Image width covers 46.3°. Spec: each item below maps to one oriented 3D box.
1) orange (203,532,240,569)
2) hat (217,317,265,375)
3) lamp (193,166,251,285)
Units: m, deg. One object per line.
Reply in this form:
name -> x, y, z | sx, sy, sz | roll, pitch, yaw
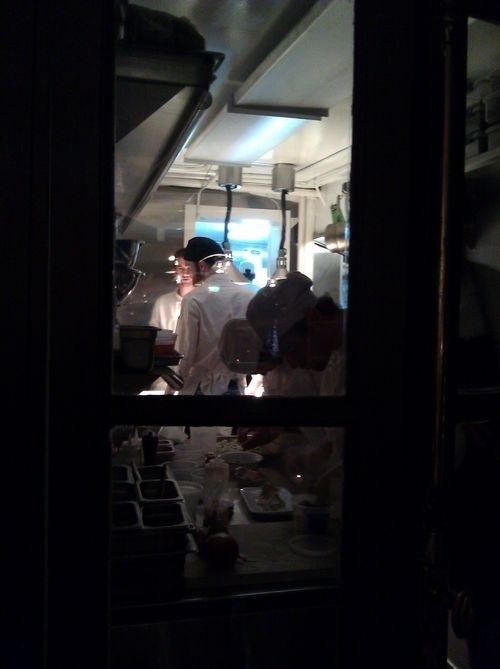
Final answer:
orange -> -0.048, 0.357, 0.966 | 0.055, 0.043, 0.058 | 1, -15, -4
hat -> -0.014, 0.017, 0.961 | 0.068, 0.091, 0.030 | 1, 4, -18
lamp -> -0.034, -0.176, 0.951 | 0.073, 0.181, 0.072 | -3, 9, -41
